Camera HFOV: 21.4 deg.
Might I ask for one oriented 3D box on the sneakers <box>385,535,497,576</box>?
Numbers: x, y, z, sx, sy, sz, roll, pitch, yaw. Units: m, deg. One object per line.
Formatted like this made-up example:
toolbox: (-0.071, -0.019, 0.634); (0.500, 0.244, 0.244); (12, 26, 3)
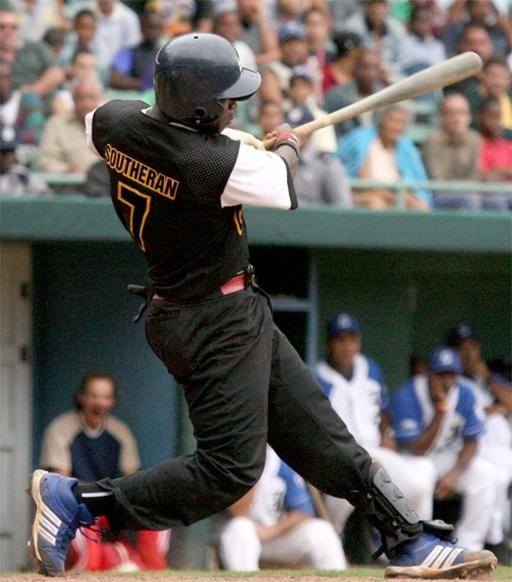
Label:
sneakers: (0.670, 0.982, 5.043); (0.435, 0.156, 0.148); (-3, -16, 1)

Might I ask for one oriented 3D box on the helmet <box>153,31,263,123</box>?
helmet: (-0.190, -0.757, 4.758); (0.416, 0.277, 0.330); (-16, 34, -39)

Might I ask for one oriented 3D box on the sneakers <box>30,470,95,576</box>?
sneakers: (-0.707, 0.817, 4.995); (0.280, 0.415, 0.154); (-6, -4, 8)
